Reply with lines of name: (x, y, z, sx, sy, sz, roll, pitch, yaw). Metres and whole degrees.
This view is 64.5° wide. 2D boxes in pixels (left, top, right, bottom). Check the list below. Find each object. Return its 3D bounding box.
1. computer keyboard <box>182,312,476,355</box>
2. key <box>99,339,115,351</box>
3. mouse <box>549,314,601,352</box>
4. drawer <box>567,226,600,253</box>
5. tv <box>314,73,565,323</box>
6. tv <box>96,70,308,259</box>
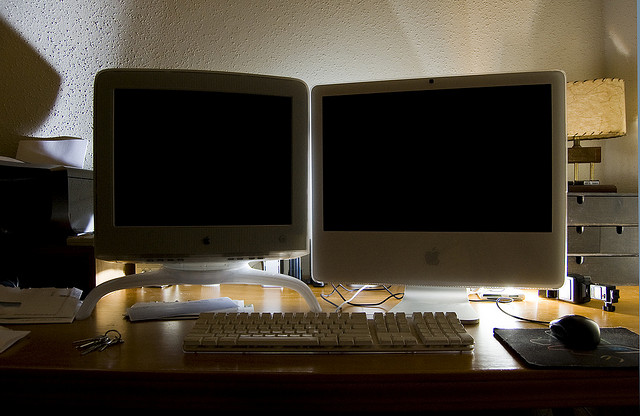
computer keyboard: (0.015, 0.389, 1.571, 0.852, 0.077, 0.228, -1, 9, 1)
key: (-0.650, 0.415, 1.539, 0.012, 0.005, 0.050, 16, 17, 18)
mouse: (0.792, 0.371, 1.593, 0.131, 0.072, 0.204, -4, -1, 3)
drawer: (1.065, 0.123, 2.004, 0.149, 0.117, 0.068, 1, -7, -7)
tv: (0.401, -0.057, 1.691, 0.902, 0.819, 0.287, -1, -5, 5)
tv: (-0.358, -0.159, 1.890, 0.787, 0.624, 0.415, 1, 1, 7)
